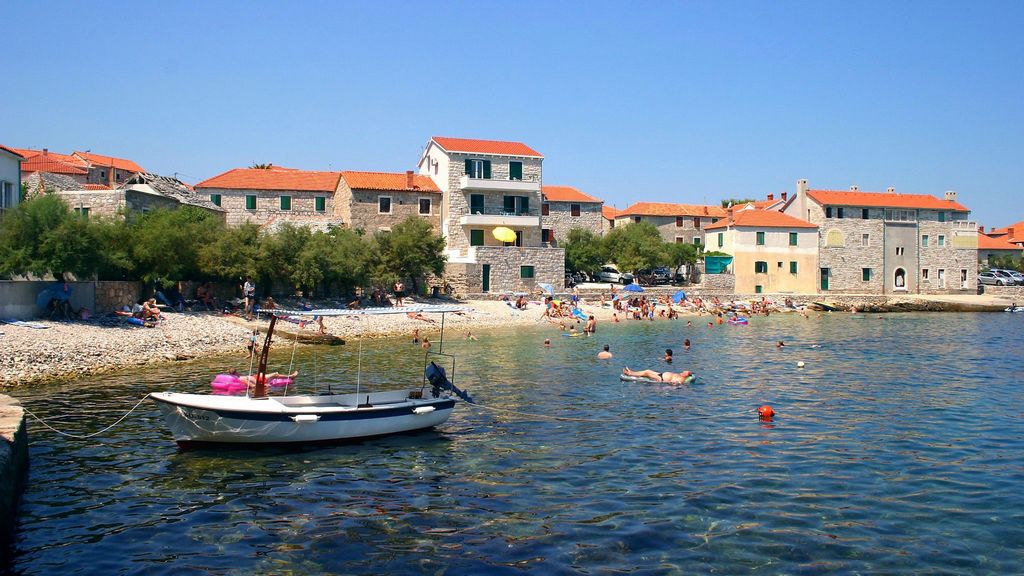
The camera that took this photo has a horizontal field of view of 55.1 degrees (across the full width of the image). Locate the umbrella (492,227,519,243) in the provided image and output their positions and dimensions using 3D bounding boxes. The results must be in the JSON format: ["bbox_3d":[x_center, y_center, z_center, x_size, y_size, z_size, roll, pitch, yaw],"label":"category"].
[{"bbox_3d":[-0.862,-5.286,95.450,2.141,1.502,3.539,-1,-2,0],"label":"umbrella"}]

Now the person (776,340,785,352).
[{"bbox_3d":[19.033,4.181,70.191,0.672,0.467,0.818,6,7,23],"label":"person"}]

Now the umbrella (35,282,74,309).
[{"bbox_3d":[-30.364,0.433,64.786,1.495,1.258,2.004,9,6,7],"label":"umbrella"}]

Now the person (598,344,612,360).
[{"bbox_3d":[6.181,4.317,66.314,1.014,0.965,2.659,-1,-2,6],"label":"person"}]
